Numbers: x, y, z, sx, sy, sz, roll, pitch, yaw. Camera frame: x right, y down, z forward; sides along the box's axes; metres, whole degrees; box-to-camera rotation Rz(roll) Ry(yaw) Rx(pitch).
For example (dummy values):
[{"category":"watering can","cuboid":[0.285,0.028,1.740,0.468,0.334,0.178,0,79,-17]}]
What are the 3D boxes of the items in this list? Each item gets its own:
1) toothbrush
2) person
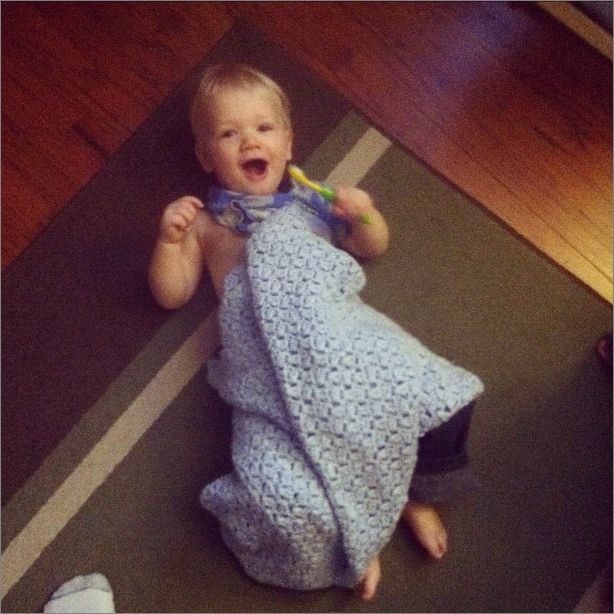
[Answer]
[{"category":"toothbrush","cuboid":[0.062,-0.198,1.320,0.308,0.067,0.049,33,47,-50]},{"category":"person","cuboid":[-0.037,0.016,1.340,0.517,0.349,1.114,-13,66,-13]}]
